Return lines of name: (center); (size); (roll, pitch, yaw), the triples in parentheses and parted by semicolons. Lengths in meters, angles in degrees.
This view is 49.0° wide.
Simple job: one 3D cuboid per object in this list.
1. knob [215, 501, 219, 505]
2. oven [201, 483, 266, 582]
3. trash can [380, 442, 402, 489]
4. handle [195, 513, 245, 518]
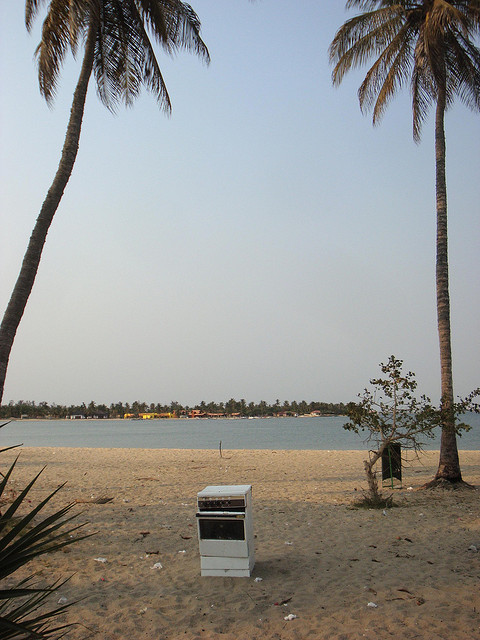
knob: (-0.265, 2.138, 6.141); (0.035, 0.044, 0.022); (2, 3, 6)
oven: (-0.113, 2.618, 6.639); (0.949, 1.634, 1.065); (0, -3, -3)
trash can: (3.803, 3.734, 13.345); (0.598, 1.180, 0.578); (-9, -17, 30)
handle: (-0.229, 2.261, 6.105); (0.574, 0.070, 0.066); (-2, -12, 14)
